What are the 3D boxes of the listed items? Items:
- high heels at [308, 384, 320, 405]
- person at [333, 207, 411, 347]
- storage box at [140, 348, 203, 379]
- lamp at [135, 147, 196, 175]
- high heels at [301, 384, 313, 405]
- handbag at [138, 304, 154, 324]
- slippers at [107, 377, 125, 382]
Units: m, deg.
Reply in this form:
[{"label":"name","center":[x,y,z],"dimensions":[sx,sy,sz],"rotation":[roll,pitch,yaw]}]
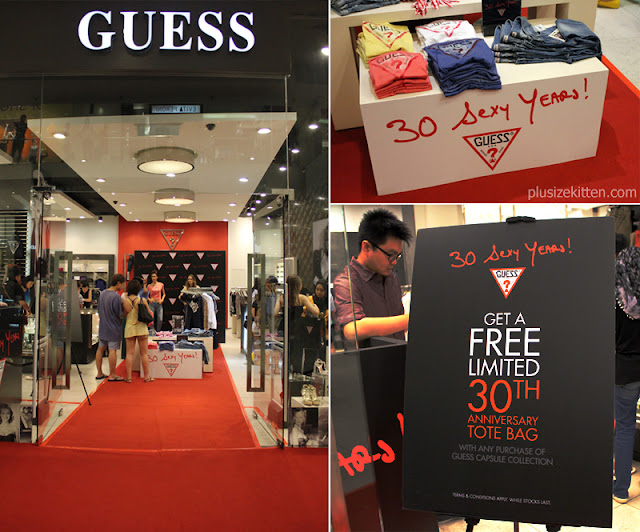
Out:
[{"label":"high heels","center":[-0.037,0.804,3.588],"dimensions":[0.063,0.111,0.036],"rotation":[-7,-2,27]},{"label":"person","center":[0.302,0.081,3.420],"dimensions":[0.477,0.817,0.163],"rotation":[-1,-3,10]},{"label":"storage box","center":[-0.931,0.629,3.756],"dimensions":[0.220,0.153,0.229],"rotation":[-1,3,-7]},{"label":"lamp","center":[-0.995,-0.681,3.716],"dimensions":[0.382,0.162,0.040],"rotation":[0,-3,-1]},{"label":"high heels","center":[-0.074,0.801,3.603],"dimensions":[0.075,0.124,0.041],"rotation":[-1,0,12]},{"label":"handbag","center":[-1.108,0.301,3.643],"dimensions":[0.105,0.149,0.054],"rotation":[-3,0,-18]},{"label":"slippers","center":[-1.286,0.716,3.635],"dimensions":[0.069,0.026,0.039],"rotation":[-1,1,-14]}]
